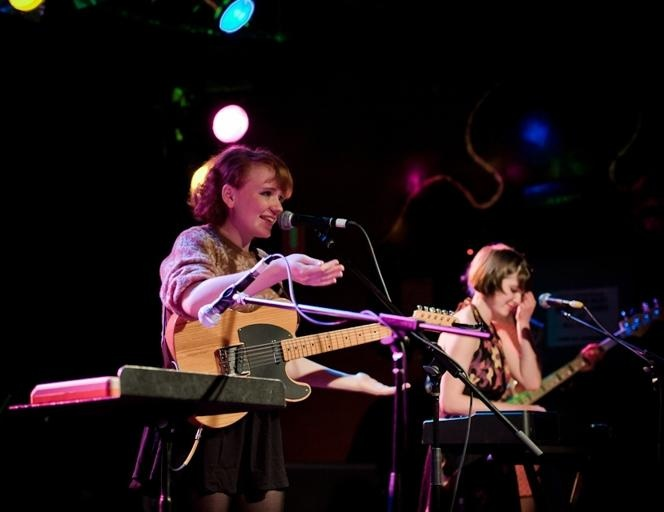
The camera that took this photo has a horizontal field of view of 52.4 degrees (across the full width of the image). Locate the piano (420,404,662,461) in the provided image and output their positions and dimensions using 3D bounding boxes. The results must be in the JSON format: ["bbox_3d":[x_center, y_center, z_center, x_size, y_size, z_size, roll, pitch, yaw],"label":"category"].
[{"bbox_3d":[1.053,1.017,3.799,0.797,0.286,1.691,-5,-14,33],"label":"piano"}]

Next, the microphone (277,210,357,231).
[{"bbox_3d":[-0.060,-0.180,3.397,0.383,0.112,0.197,-1,-12,17],"label":"microphone"}]

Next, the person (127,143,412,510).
[{"bbox_3d":[-0.412,0.305,3.498,1.033,2.051,1.028,5,-11,-15],"label":"person"}]

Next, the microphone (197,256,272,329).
[{"bbox_3d":[-0.403,0.153,2.969,0.313,0.315,0.168,-2,-11,21],"label":"microphone"}]

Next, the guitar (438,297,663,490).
[{"bbox_3d":[1.419,0.924,4.360,1.200,0.444,0.160,-31,4,-6],"label":"guitar"}]
